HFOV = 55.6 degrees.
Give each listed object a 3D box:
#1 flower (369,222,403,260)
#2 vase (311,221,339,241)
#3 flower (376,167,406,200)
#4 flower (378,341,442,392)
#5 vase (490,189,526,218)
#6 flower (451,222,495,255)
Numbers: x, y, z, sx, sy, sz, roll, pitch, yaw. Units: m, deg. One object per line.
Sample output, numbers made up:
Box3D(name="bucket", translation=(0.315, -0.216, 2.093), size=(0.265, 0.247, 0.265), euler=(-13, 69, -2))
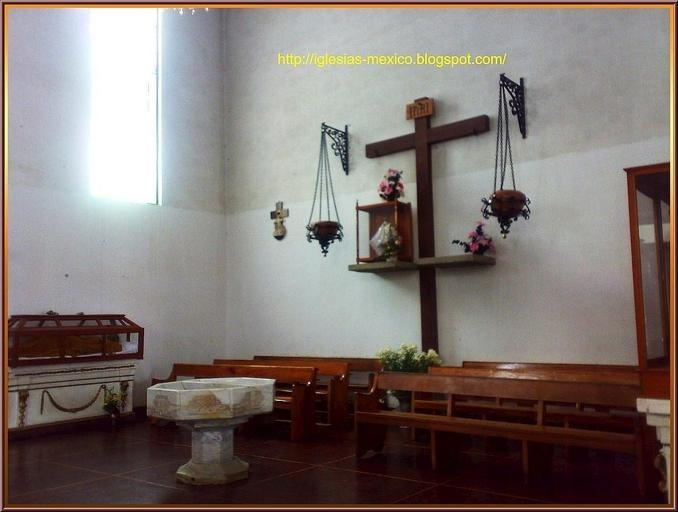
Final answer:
Box3D(name="flower", translation=(0.569, -0.185, 7.898), size=(0.381, 0.399, 0.406), euler=(-1, 0, 4))
Box3D(name="vase", translation=(-0.169, -0.328, 8.299), size=(0.392, 0.205, 0.277), euler=(-1, 0, -8))
Box3D(name="flower", translation=(0.625, -0.878, 8.017), size=(0.366, 0.384, 0.376), euler=(0, -7, -4))
Box3D(name="flower", translation=(0.788, 1.226, 7.301), size=(0.423, 0.320, 0.435), euler=(7, -9, -29))
Box3D(name="vase", translation=(1.829, -0.527, 6.923), size=(0.304, 0.214, 0.308), euler=(-2, -8, 44))
Box3D(name="flower", translation=(1.665, -0.207, 7.539), size=(0.375, 0.424, 0.418), euler=(4, 13, 34))
